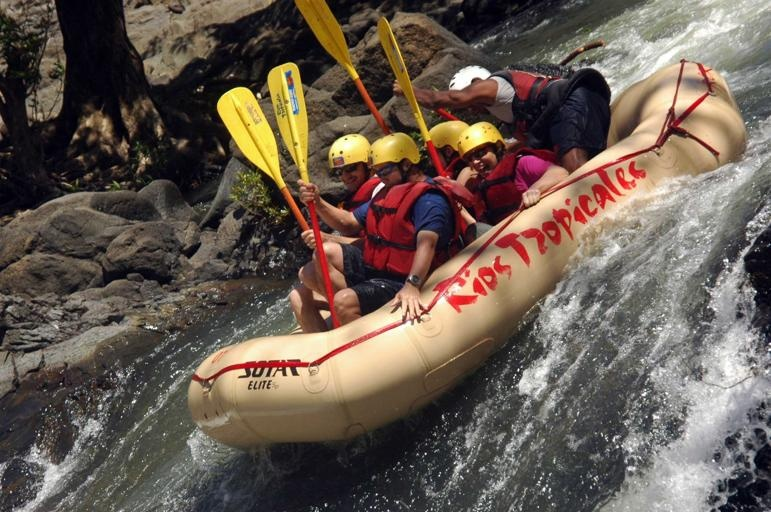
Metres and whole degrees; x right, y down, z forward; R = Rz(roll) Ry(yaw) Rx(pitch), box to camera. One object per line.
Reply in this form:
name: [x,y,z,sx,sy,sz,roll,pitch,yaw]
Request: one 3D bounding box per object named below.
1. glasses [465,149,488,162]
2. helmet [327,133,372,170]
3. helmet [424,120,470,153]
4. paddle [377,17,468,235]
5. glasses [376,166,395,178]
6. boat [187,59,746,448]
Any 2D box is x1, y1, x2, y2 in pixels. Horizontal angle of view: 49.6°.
glasses: [1.018,-1.163,9.516,0.146,0.107,0.199,-37,-4,24]
helmet: [-0.450,-1.209,9.745,0.330,0.375,0.444,-20,-18,-47]
helmet: [0.767,-1.509,10.284,0.446,0.381,0.354,-29,10,19]
paddle: [0.478,-1.638,10.629,0.396,3.814,0.232,-26,-17,34]
glasses: [0.000,-0.940,9.243,0.133,0.052,0.135,-30,-2,35]
boat: [1.252,0.003,9.015,5.651,1.229,3.494,-41,8,3]
